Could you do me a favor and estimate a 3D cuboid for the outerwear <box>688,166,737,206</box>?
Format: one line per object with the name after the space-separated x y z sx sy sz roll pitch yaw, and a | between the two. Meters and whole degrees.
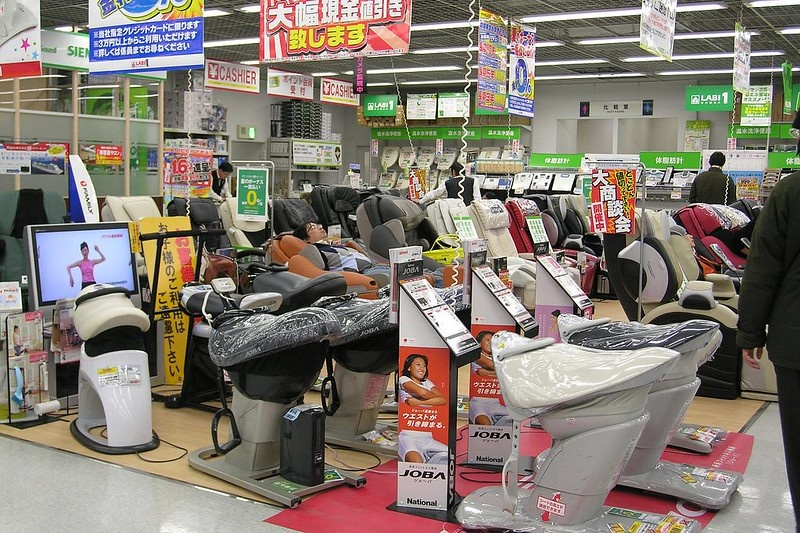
5.476 -1.351 9.507 0.735 0.624 0.401 4 9 39 | outerwear

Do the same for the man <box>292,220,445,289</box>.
-0.417 -0.134 6.193 1.329 1.113 0.924 -1 2 23 | man

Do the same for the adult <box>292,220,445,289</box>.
-0.475 -0.150 6.242 1.329 1.113 0.924 -1 2 23 | adult

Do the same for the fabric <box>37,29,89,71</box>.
-6.137 -3.927 9.722 0.549 0.642 0.980 23 21 13 | fabric
